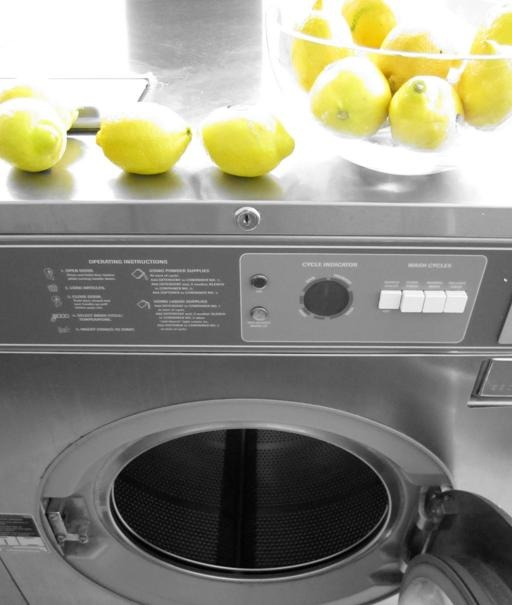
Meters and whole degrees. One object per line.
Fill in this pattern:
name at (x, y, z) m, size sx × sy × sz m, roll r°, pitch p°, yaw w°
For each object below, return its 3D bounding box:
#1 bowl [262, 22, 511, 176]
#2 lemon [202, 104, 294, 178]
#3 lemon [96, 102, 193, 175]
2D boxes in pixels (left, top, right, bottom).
bowl at (0.098, -0.175, 0.462) m, size 0.190 × 0.099 × 0.177 m, roll 1°, pitch 49°, yaw -1°
lemon at (-0.007, -0.134, 0.450) m, size 0.076 × 0.052 × 0.054 m, roll 13°, pitch 13°, yaw 11°
lemon at (-0.095, -0.136, 0.450) m, size 0.077 × 0.054 × 0.056 m, roll -1°, pitch 6°, yaw 6°
